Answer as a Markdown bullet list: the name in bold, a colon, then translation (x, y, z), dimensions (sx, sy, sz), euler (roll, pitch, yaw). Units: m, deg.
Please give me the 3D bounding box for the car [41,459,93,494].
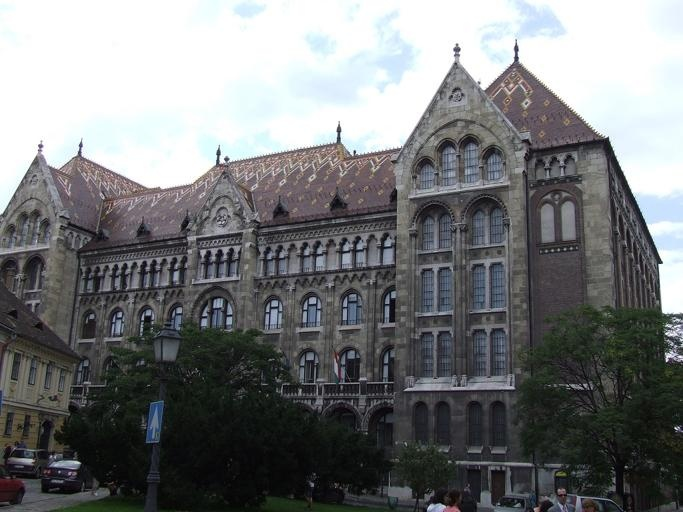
- **car**: translation (-15.968, 12.860, 44.611), dimensions (1.731, 1.298, 3.992), euler (1, -15, -3)
